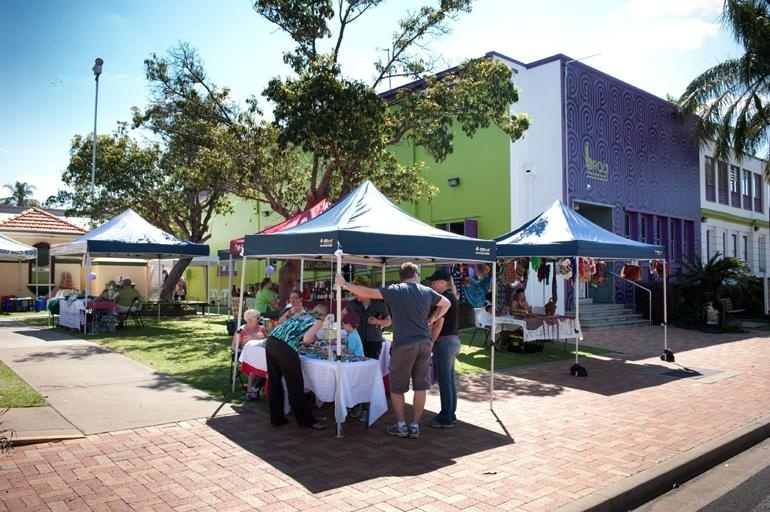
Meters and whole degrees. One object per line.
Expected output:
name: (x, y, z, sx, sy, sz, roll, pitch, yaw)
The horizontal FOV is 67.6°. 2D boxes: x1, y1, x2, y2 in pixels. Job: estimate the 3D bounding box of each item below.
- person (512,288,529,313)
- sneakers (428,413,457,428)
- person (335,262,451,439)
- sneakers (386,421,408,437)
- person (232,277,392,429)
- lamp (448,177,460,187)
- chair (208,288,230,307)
person: (3.822, 1.224, 16.159, 0.479, 0.652, 0.855, -1, -2, 14)
sneakers: (1.002, 2.886, 10.174, 0.452, 0.214, 0.201, 4, -3, -1)
person: (0.373, 1.561, 9.545, 1.465, 2.886, 0.660, 0, -2, 0)
sneakers: (0.233, 2.894, 9.653, 0.431, 0.211, 0.173, 2, 0, 44)
person: (-1.373, 2.011, 9.981, 1.435, 0.685, 2.384, -4, 5, -43)
lamp: (2.815, -2.989, 23.499, 0.341, 0.361, 0.554, 1, -3, -35)
chair: (-8.899, 2.240, 30.767, 1.435, 0.982, 0.538, -2, -8, 13)
